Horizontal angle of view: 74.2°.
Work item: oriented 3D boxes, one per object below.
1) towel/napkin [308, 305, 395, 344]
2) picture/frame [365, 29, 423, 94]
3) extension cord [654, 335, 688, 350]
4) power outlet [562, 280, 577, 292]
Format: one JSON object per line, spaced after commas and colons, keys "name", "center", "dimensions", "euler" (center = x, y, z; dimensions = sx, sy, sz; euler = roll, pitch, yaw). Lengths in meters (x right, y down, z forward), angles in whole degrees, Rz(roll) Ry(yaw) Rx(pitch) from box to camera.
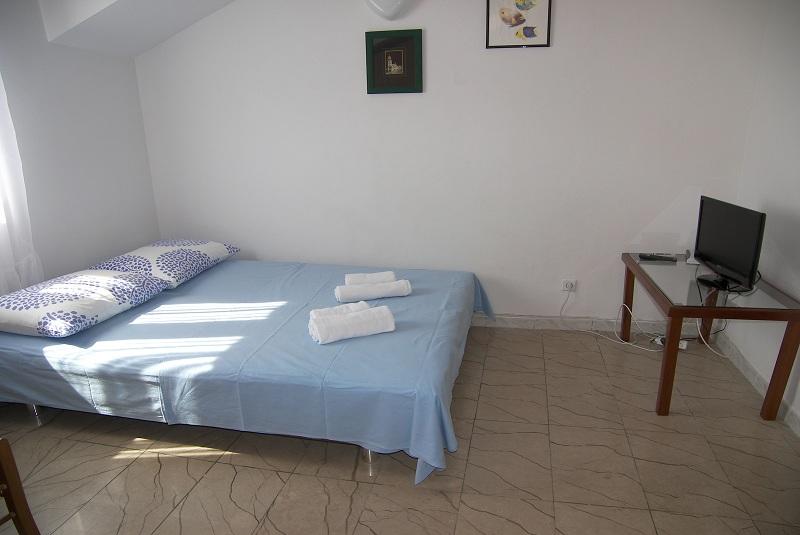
{"name": "towel/napkin", "center": [-0.325, 0.376, 3.726], "dimensions": [0.450, 0.152, 0.268], "euler": [-7, 16, -12]}
{"name": "picture/frame", "center": [-0.034, -1.791, 4.528], "dimensions": [0.559, 0.557, 0.038], "euler": [1, 16, 6]}
{"name": "extension cord", "center": [2.299, 0.645, 4.551], "dimensions": [0.315, 0.072, 0.179], "euler": [5, 3, 9]}
{"name": "power outlet", "center": [1.508, 0.162, 4.714], "dimensions": [0.108, 0.100, 0.026], "euler": [4, 4, 13]}
